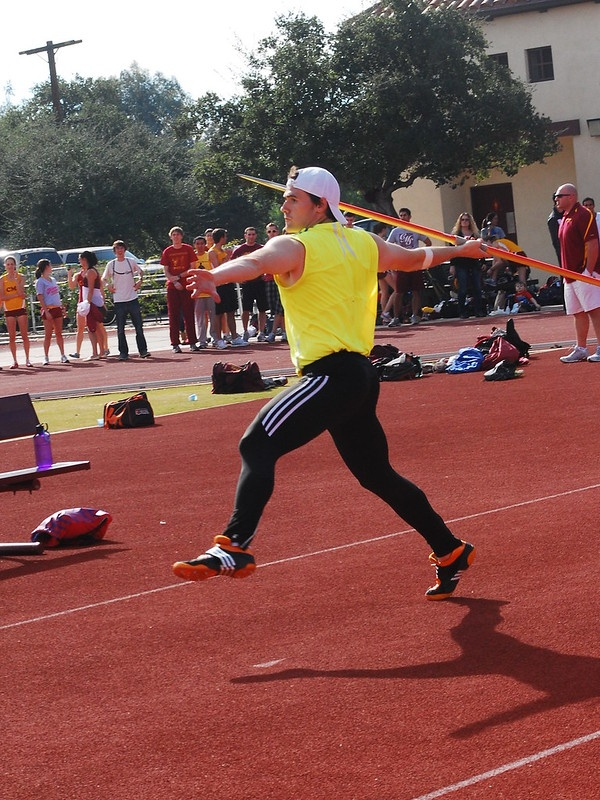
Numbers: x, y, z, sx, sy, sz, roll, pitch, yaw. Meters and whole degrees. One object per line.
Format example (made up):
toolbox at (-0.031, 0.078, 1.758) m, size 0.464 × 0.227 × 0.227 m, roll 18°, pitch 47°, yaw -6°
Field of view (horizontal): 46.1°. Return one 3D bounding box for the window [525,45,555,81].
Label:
window at (10.805, -15.228, 31.805) m, size 1.814 × 1.879 × 0.170 m, roll 0°, pitch 9°, yaw 14°

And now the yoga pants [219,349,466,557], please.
yoga pants at (0.180, 0.269, 2.888) m, size 1.018 × 0.822 × 0.371 m, roll -6°, pitch 0°, yaw -44°

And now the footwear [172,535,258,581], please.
footwear at (-0.303, 0.580, 2.615) m, size 0.403 × 0.203 × 0.128 m, roll 2°, pitch -24°, yaw -10°

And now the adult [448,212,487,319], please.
adult at (4.580, -3.641, 18.922) m, size 0.847 × 2.698 × 0.912 m, roll -7°, pitch 0°, yaw 9°

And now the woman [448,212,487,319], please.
woman at (4.550, -3.630, 18.846) m, size 0.866 × 2.686 × 0.964 m, roll -7°, pitch 5°, yaw 15°
